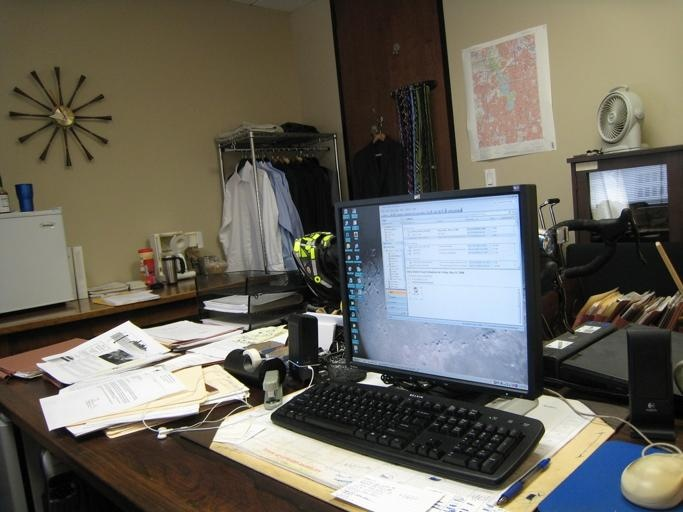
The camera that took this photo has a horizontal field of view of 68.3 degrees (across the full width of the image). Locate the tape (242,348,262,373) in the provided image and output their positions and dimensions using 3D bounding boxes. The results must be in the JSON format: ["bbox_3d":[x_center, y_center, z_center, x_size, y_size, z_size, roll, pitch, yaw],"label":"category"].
[{"bbox_3d":[-0.263,0.309,1.479,0.058,0.059,0.032,-9,-1,42],"label":"tape"}]

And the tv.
[{"bbox_3d":[0.238,0.098,1.186,0.531,0.450,0.076,0,3,38],"label":"tv"}]

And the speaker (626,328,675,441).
[{"bbox_3d":[0.658,0.266,1.074,0.084,0.218,0.122,-2,11,33],"label":"speaker"}]

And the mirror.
[{"bbox_3d":[1.510,-0.288,2.687,0.107,0.368,0.379,-13,11,-33],"label":"mirror"}]

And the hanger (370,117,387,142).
[{"bbox_3d":[0.309,-1.049,4.140,0.030,0.241,0.183,-11,23,-38],"label":"hanger"}]

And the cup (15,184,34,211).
[{"bbox_3d":[-1.875,-0.351,3.000,0.078,0.173,0.166,-13,10,-30],"label":"cup"}]

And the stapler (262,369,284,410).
[{"bbox_3d":[-0.184,0.354,1.335,0.053,0.084,0.087,-3,3,-1],"label":"stapler"}]

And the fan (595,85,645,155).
[{"bbox_3d":[1.505,-0.741,2.740,0.204,0.317,0.129,-3,10,29],"label":"fan"}]

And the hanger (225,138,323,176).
[{"bbox_3d":[-0.617,-0.944,4.465,0.612,0.238,0.431,-7,6,-31],"label":"hanger"}]

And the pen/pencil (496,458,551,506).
[{"bbox_3d":[0.339,0.430,0.951,0.210,0.024,0.024,-16,13,-42],"label":"pen/pencil"}]
